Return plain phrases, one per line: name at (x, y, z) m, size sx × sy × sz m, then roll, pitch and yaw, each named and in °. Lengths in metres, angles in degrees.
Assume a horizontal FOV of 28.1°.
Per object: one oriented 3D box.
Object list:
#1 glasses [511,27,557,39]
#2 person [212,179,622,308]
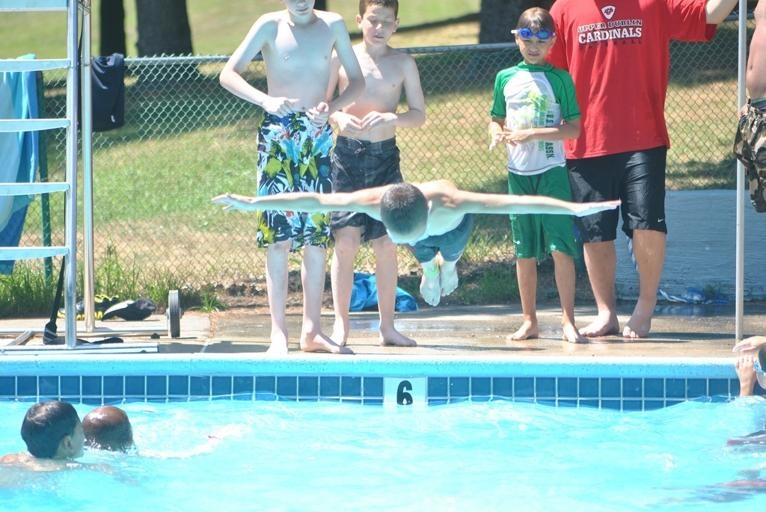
glasses at (1.350, -2.005, 13.843) m, size 0.370 × 0.117 × 0.188 m, roll -2°, pitch 10°, yaw 7°
person at (0.302, -0.275, 13.308) m, size 3.013 × 0.784 × 0.983 m, roll -3°, pitch 10°, yaw 1°
